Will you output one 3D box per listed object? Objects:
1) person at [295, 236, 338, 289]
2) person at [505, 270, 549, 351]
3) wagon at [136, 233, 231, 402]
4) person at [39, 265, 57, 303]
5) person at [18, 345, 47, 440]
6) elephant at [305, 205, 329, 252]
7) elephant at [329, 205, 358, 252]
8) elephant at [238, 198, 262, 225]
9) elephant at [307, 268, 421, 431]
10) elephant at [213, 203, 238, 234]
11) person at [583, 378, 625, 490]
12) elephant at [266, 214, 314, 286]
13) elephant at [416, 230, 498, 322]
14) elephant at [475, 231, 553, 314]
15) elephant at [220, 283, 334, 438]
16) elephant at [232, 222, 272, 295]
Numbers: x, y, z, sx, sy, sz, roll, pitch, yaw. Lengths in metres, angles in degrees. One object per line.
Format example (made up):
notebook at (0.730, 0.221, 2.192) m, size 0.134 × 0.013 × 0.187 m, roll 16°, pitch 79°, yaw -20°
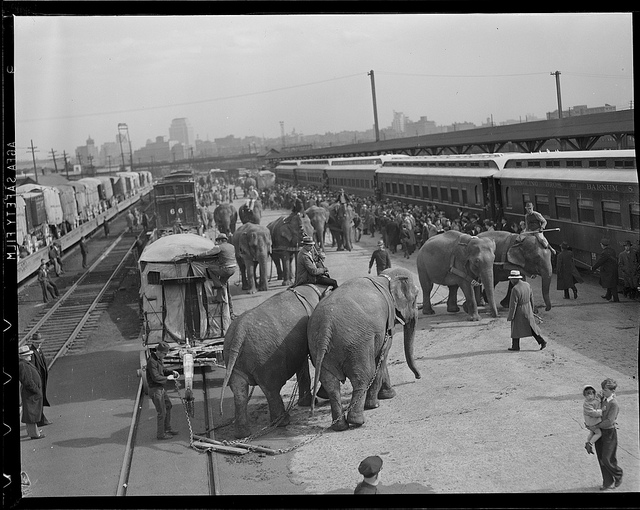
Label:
person at (-0.024, 0.374, 11.119) m, size 0.975 × 1.492 × 0.583 m, roll -2°, pitch -6°, yaw -9°
person at (4.504, 1.251, 12.043) m, size 0.771 × 1.868 × 0.411 m, roll -6°, pitch 9°, yaw -8°
wagon at (-3.275, 1.093, 12.918) m, size 1.788 × 4.264 × 2.229 m, roll -3°, pitch 10°, yaw -11°
person at (-11.720, 1.178, 23.188) m, size 0.523 × 1.703 × 1.257 m, roll -8°, pitch 9°, yaw -17°
person at (-5.891, 2.803, 11.003) m, size 0.410 × 1.874 × 0.585 m, roll -10°, pitch 10°, yaw -33°
elephant at (-0.179, -1.526, 27.462) m, size 1.077 × 2.007 × 3.321 m, roll -2°, pitch 14°, yaw -7°
elephant at (1.123, -1.567, 29.368) m, size 1.382 × 2.558 × 4.101 m, roll 2°, pitch 5°, yaw -7°
elephant at (-3.899, -2.380, 28.754) m, size 0.990 × 1.507 × 2.293 m, roll -1°, pitch 2°, yaw -15°
elephant at (0.766, 1.716, 9.983) m, size 1.045 × 2.511 × 3.179 m, roll 1°, pitch 12°, yaw 35°
elephant at (-5.536, -2.008, 31.246) m, size 1.125 × 1.927 × 3.051 m, roll -6°, pitch 10°, yaw -18°
person at (3.922, 2.426, 7.419) m, size 0.427 × 1.643 × 0.514 m, roll 1°, pitch 10°, yaw 31°
elephant at (-1.167, -0.270, 22.821) m, size 1.614 × 3.042 × 3.953 m, roll -5°, pitch 2°, yaw -33°
elephant at (3.925, 0.533, 15.546) m, size 1.145 × 2.611 × 2.711 m, roll -6°, pitch 7°, yaw -29°
elephant at (5.620, 0.452, 15.223) m, size 1.517 × 2.113 × 0.886 m, roll -2°, pitch 9°, yaw 17°
elephant at (-0.647, 1.834, 10.677) m, size 1.291 × 2.419 × 3.919 m, roll 2°, pitch 11°, yaw 30°
elephant at (-2.710, -0.098, 21.374) m, size 1.375 × 3.039 × 1.454 m, roll -3°, pitch 12°, yaw -16°
